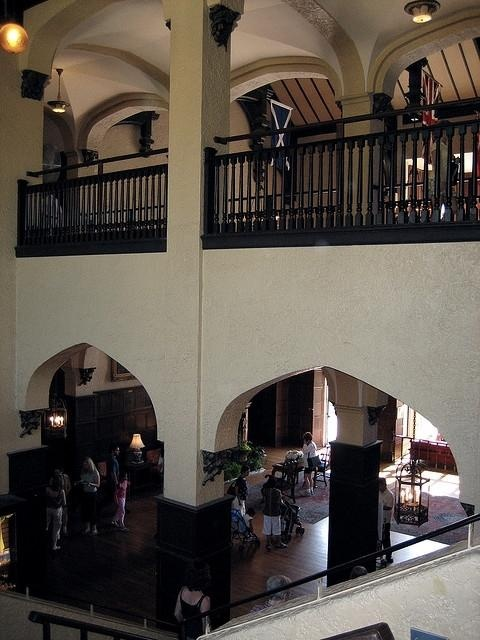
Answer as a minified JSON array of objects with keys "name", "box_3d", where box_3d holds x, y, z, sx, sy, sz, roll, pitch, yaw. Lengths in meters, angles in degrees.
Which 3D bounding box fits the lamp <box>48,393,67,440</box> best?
[{"name":"lamp","box_3d":[-3.303,1.713,12.239,0.395,0.897,1.833,8,-13,-15]}]

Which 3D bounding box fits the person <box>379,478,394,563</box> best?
[{"name":"person","box_3d":[2.181,2.999,10.046,0.206,1.201,1.646,2,-13,14]}]

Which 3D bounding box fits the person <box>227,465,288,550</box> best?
[{"name":"person","box_3d":[0.272,3.041,10.797,0.942,1.089,0.826,4,-12,7]}]

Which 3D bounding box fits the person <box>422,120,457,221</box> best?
[{"name":"person","box_3d":[1.438,-1.027,4.896,0.186,0.823,0.212,-2,-3,-18]}]

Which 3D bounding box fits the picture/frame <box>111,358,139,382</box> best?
[{"name":"picture/frame","box_3d":[-2.496,1.097,13.992,0.170,0.414,0.755,-2,-15,29]}]

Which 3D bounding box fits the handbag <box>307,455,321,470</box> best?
[{"name":"handbag","box_3d":[1.457,2.850,13.461,0.137,0.317,0.288,-9,2,26]}]

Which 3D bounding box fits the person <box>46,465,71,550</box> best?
[{"name":"person","box_3d":[-2.885,2.948,10.522,0.341,1.197,0.889,7,-12,-13]}]
